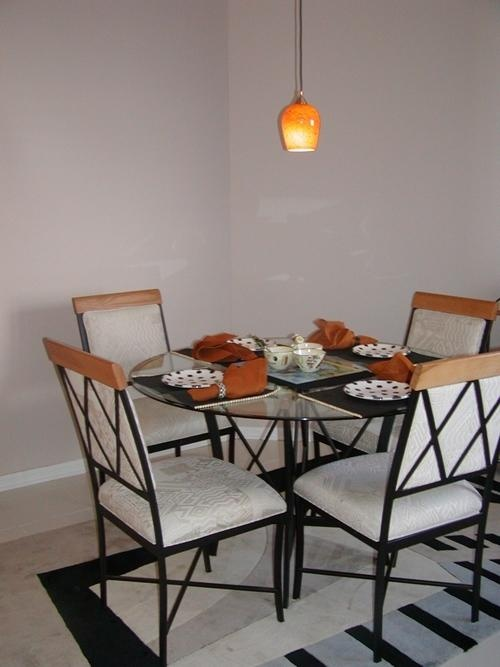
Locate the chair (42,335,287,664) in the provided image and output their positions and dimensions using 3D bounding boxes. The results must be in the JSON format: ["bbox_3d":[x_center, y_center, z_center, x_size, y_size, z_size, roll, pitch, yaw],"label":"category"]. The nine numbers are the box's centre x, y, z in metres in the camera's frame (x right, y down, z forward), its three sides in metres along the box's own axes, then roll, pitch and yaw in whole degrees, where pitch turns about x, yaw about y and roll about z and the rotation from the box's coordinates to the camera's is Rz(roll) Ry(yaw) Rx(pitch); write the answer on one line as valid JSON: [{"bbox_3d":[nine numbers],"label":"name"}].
[{"bbox_3d":[-0.248,0.425,1.721,0.474,0.888,0.592,-12,18,-34],"label":"chair"}]

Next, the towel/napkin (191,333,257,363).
[{"bbox_3d":[-0.085,0.058,2.083,0.145,0.042,0.138,5,5,38],"label":"towel/napkin"}]

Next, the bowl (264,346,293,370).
[{"bbox_3d":[0.091,0.074,1.876,0.081,0.052,0.082,0,13,0],"label":"bowl"}]

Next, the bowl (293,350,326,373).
[{"bbox_3d":[0.183,0.080,1.821,0.084,0.052,0.082,1,9,0],"label":"bowl"}]

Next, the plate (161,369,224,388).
[{"bbox_3d":[-0.178,0.136,1.763,0.091,0.014,0.088,5,16,33],"label":"plate"}]

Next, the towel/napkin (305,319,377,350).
[{"bbox_3d":[0.348,0.017,2.231,0.169,0.053,0.171,1,-5,33],"label":"towel/napkin"}]
